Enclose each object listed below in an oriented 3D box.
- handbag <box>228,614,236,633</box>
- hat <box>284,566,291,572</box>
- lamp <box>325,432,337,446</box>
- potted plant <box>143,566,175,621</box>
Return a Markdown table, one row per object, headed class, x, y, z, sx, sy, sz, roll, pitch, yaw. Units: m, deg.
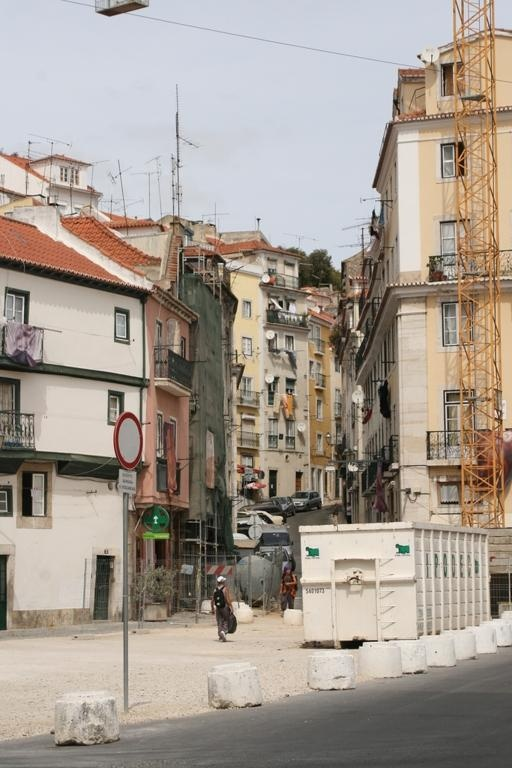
| class | x | y | z | sx | sy | sz | roll | pitch | yaw |
| --- | --- | --- | --- | --- | --- | --- | --- | --- | --- |
| handbag | -0.436 | 4.588 | 30.612 | 0.106 | 0.402 | 0.291 | -1 | -9 | 7 |
| hat | 0.903 | 5.112 | 44.161 | 0.223 | 0.086 | 0.264 | -2 | -1 | -24 |
| lamp | 5.202 | 3.798 | 109.276 | 0.624 | 1.239 | 0.722 | 2 | 0 | 0 |
| potted plant | -2.343 | 5.099 | 38.706 | 0.524 | 1.293 | 1.818 | -3 | -10 | 14 |
